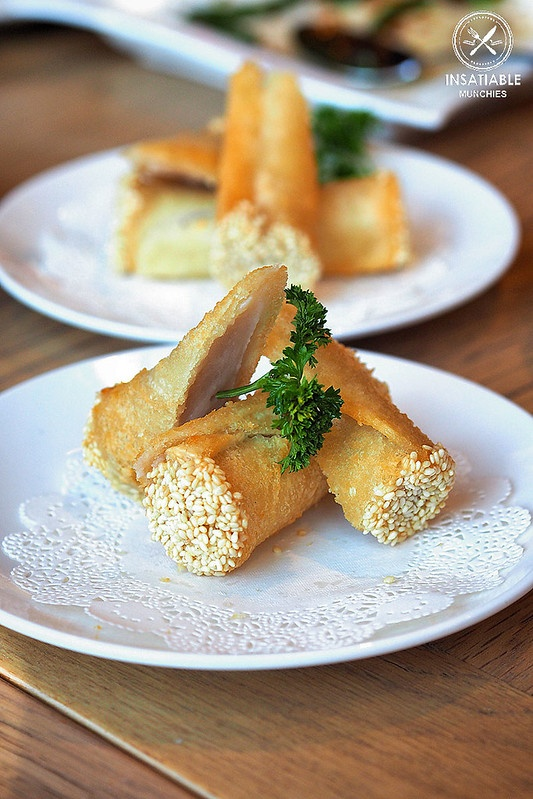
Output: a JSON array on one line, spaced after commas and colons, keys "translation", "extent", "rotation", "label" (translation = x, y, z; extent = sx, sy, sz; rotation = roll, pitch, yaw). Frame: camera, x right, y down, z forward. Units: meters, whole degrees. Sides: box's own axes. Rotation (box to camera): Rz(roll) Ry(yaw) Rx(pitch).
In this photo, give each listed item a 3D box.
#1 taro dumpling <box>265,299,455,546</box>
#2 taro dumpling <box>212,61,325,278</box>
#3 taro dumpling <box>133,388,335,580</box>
[{"translation": [0.058, 0.014, 0.646], "extent": [0.114, 0.081, 0.205], "rotation": [-19, 53, -36], "label": "taro dumpling"}, {"translation": [0.002, -0.293, 1.013], "extent": [0.173, 0.258, 0.097], "rotation": [1, -10, -3], "label": "taro dumpling"}, {"translation": [-0.020, 0.058, 0.617], "extent": [0.101, 0.056, 0.162], "rotation": [19, 13, 24], "label": "taro dumpling"}]
